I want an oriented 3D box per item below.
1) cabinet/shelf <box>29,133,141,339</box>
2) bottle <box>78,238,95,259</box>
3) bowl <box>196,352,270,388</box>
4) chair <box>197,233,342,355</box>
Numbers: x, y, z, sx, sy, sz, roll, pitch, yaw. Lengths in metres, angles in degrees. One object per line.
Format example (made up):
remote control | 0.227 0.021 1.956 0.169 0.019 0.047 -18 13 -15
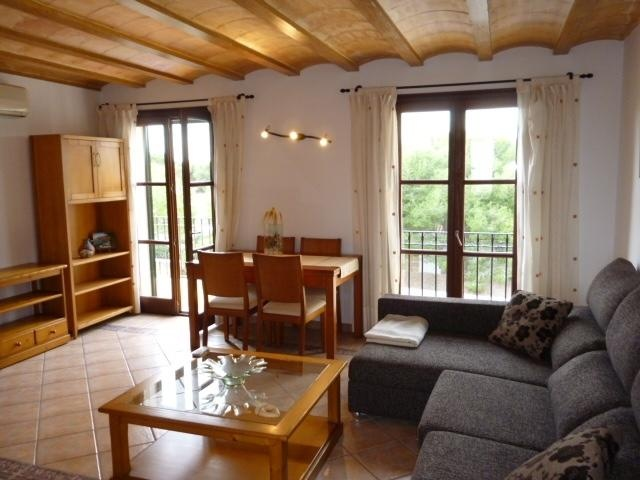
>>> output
cabinet/shelf | -2.779 -0.090 5.738 0.587 2.261 1.102 5 14 23
bottle | -2.695 0.094 5.724 0.188 0.192 0.189 -2 -5 7
bowl | -0.689 0.886 3.491 0.417 0.119 0.407 -1 -8 0
chair | -0.571 0.615 4.974 1.320 1.131 0.883 0 13 4
